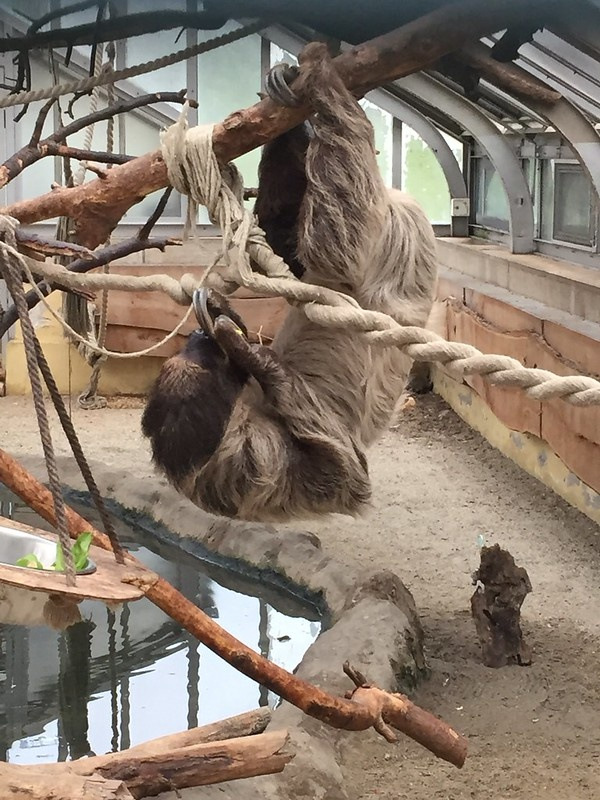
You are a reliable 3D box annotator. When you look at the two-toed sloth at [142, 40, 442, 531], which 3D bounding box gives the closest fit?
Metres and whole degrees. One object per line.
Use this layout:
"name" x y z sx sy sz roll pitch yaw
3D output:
"two-toed sloth" -0.016 -0.232 2.168 0.710 1.201 0.474 -19 18 -37
